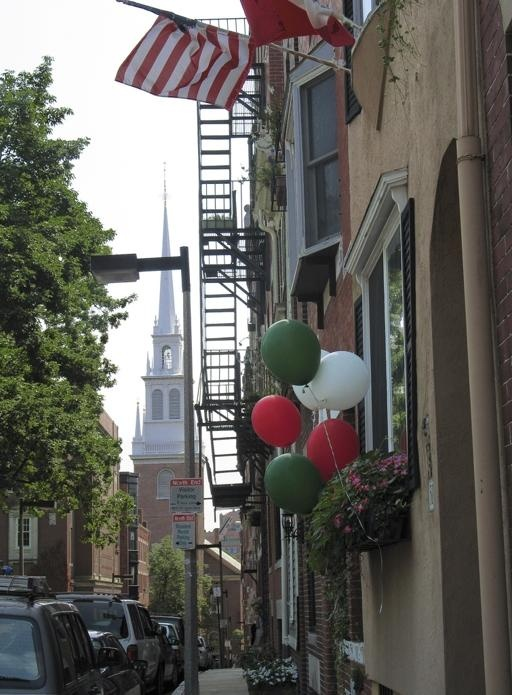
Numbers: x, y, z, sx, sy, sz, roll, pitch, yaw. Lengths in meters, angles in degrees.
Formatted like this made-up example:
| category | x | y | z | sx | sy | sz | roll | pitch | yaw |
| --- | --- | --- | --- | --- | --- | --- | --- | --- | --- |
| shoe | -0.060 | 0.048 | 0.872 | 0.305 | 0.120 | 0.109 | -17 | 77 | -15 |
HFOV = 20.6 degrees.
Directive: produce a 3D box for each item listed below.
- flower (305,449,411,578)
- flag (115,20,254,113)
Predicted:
| category | x | y | z | sx | sy | sz | roll | pitch | yaw |
| --- | --- | --- | --- | --- | --- | --- | --- | --- | --- |
| flower | 0.751 | 1.010 | 9.629 | 0.591 | 0.550 | 0.501 | -11 | -2 | 22 |
| flag | -0.550 | -2.390 | 11.742 | 1.023 | 0.974 | 0.154 | 14 | -40 | 10 |
